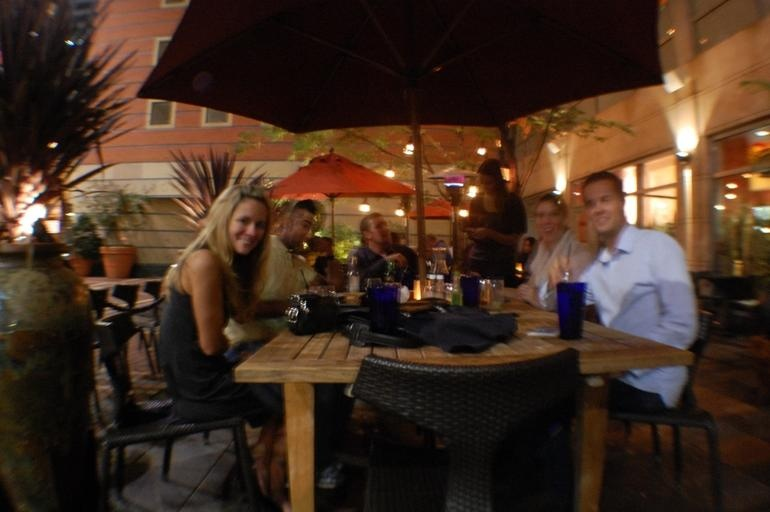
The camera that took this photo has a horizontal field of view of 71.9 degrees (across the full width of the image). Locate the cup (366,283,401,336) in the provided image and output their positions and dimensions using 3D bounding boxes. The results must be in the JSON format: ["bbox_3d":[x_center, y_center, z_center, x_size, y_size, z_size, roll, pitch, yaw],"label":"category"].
[{"bbox_3d":[-0.009,0.264,2.671,0.238,0.273,0.221,-1,-9,0],"label":"cup"}]

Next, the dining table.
[{"bbox_3d":[0.362,0.723,2.665,1.351,0.765,1.363,-2,4,-1],"label":"dining table"}]

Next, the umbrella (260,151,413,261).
[{"bbox_3d":[-0.476,-0.530,5.653,1.149,0.774,1.130,-1,3,-11],"label":"umbrella"}]

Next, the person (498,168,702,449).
[{"bbox_3d":[1.366,0.181,3.220,0.920,1.247,0.740,0,0,40],"label":"person"}]

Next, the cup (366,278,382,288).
[{"bbox_3d":[-0.071,0.146,2.923,0.059,0.053,0.057,1,-12,0],"label":"cup"}]
